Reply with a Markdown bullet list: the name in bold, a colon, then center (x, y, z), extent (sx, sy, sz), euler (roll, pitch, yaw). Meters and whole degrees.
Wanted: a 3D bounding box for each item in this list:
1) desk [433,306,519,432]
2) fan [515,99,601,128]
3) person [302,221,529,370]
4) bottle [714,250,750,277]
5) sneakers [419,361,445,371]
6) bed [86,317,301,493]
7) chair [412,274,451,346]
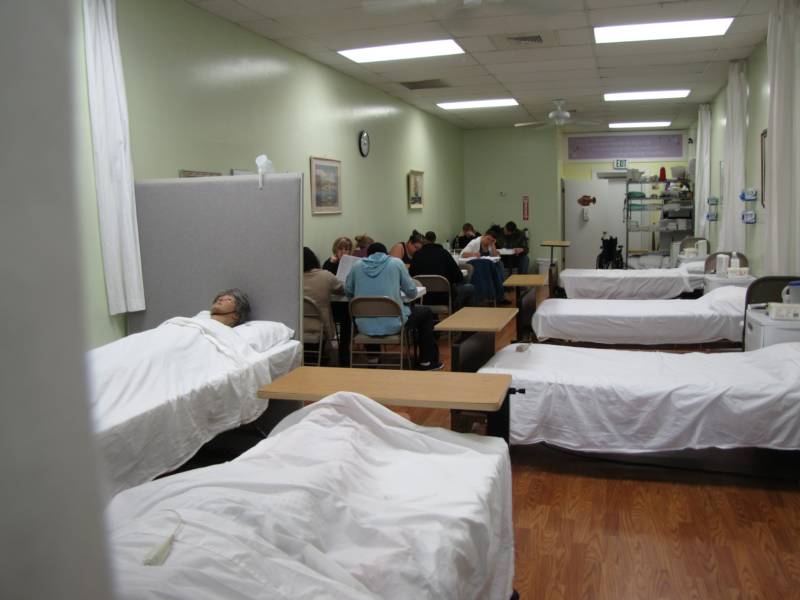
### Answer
- **desk**: center (0.565, 0.441, 3.794), extent (0.432, 0.617, 0.864), euler (-4, 7, 17)
- **fan**: center (2.700, -3.201, 9.878), extent (1.233, 0.454, 1.314), euler (1, 6, -3)
- **person**: center (-0.039, -0.085, 5.233), extent (1.344, 1.462, 1.062), euler (2, 11, 18)
- **bottle**: center (3.606, -0.360, 6.256), extent (0.349, 0.294, 0.366), euler (2, 5, 31)
- **sneakers**: center (0.285, 0.614, 5.322), extent (0.094, 0.048, 0.215), euler (2, 4, 18)
- **bed**: center (-1.027, 0.463, 3.068), extent (0.799, 0.446, 1.300), euler (12, 21, 30)
- **chair**: center (0.431, 0.110, 5.990), extent (0.399, 0.749, 0.526), euler (-1, 0, -23)
